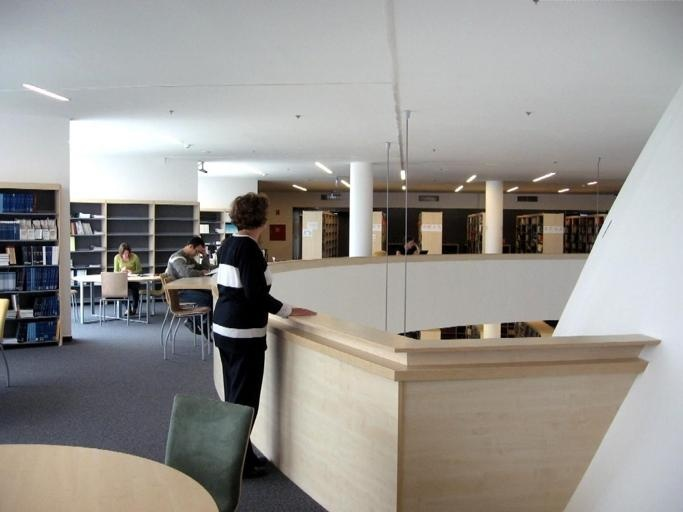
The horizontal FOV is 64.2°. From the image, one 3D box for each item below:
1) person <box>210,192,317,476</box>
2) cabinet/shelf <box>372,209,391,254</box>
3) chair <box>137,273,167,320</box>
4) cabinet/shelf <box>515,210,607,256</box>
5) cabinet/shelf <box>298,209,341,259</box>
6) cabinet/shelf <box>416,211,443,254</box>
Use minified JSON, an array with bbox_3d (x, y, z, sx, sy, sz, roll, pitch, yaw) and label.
[{"bbox_3d":[-0.592,0.581,3.780,0.547,2.026,0.517,-6,6,-22],"label":"person"},{"bbox_3d":[0.989,-0.658,14.204,0.356,1.125,1.060,-1,0,9],"label":"cabinet/shelf"},{"bbox_3d":[-3.523,0.740,10.102,0.484,0.878,0.470,1,2,-30],"label":"chair"},{"bbox_3d":[6.080,-0.649,15.467,2.240,1.280,3.630,-2,6,19],"label":"cabinet/shelf"},{"bbox_3d":[-0.399,-0.614,14.891,0.514,1.247,3.196,-8,3,9],"label":"cabinet/shelf"},{"bbox_3d":[2.169,-0.586,13.224,0.517,0.981,0.686,-3,5,6],"label":"cabinet/shelf"}]
